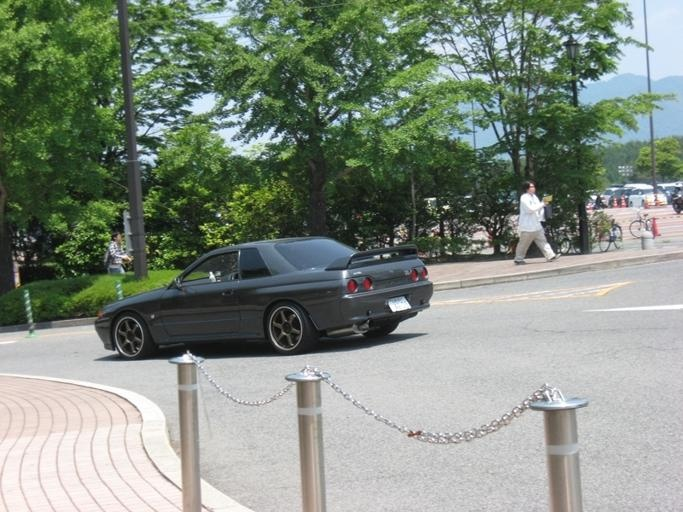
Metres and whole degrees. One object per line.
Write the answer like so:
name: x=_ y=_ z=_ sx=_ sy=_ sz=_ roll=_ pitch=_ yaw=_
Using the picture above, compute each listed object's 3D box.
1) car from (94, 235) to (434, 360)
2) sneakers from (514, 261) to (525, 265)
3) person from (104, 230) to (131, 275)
car: x=-1.227 y=0.613 z=12.845 sx=4.480 sy=1.779 sz=1.298 roll=-5 pitch=0 yaw=26
sneakers: x=4.760 y=0.150 z=22.012 sx=0.297 sy=0.097 sz=0.090 roll=0 pitch=8 yaw=2
person: x=-6.186 y=0.079 z=22.808 sx=0.599 sy=1.370 sz=0.508 roll=-4 pitch=17 yaw=-27
